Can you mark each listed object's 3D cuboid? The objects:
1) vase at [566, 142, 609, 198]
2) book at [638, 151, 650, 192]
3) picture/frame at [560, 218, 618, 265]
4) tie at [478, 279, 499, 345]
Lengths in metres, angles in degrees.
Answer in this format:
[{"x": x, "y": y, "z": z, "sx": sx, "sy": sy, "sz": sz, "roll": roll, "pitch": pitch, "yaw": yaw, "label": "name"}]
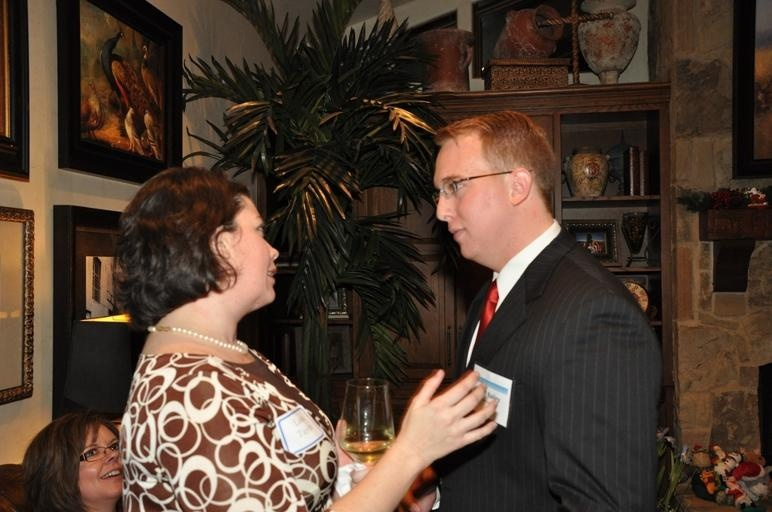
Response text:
[{"x": 1.431, "y": -0.638, "z": 4.785, "sx": 0.334, "sy": 0.415, "sz": 0.328, "roll": 1, "pitch": 6, "yaw": 9, "label": "vase"}, {"x": 1.911, "y": -0.629, "z": 4.864, "sx": 0.055, "sy": 0.255, "sz": 0.246, "roll": 2, "pitch": 3, "yaw": 10, "label": "book"}, {"x": 1.286, "y": -0.094, "z": 4.097, "sx": 0.322, "sy": 0.291, "sz": 0.046, "roll": 1, "pitch": -8, "yaw": -5, "label": "picture/frame"}, {"x": 0.424, "y": 0.209, "z": 2.727, "sx": 0.052, "sy": 0.328, "sz": 0.046, "roll": 14, "pitch": 2, "yaw": 22, "label": "tie"}]
